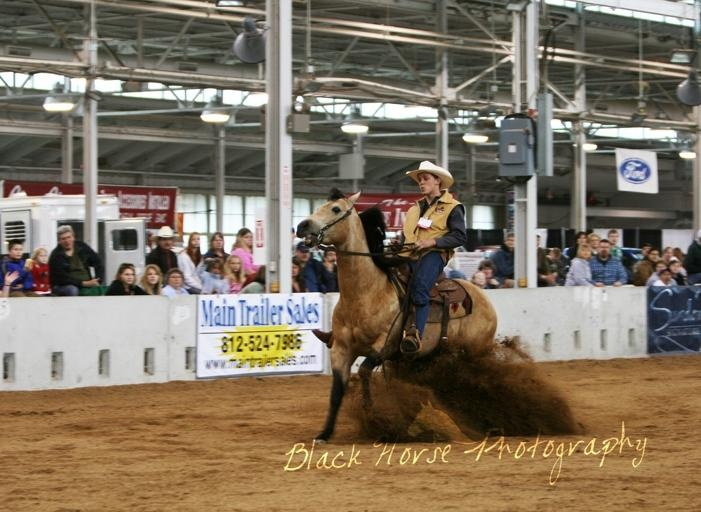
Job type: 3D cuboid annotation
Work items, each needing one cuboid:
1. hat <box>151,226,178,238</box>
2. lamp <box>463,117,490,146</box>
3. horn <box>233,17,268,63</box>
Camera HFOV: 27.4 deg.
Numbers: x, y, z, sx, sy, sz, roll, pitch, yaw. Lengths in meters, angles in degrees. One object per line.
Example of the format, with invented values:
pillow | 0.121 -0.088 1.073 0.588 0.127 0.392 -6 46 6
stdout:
hat | -5.099 -0.693 39.390 0.725 0.223 0.701 0 -7 -11
lamp | 3.859 -3.865 44.588 0.956 0.721 0.946 3 5 41
horn | -2.428 -5.336 34.885 0.736 1.091 0.937 -3 -4 -4
